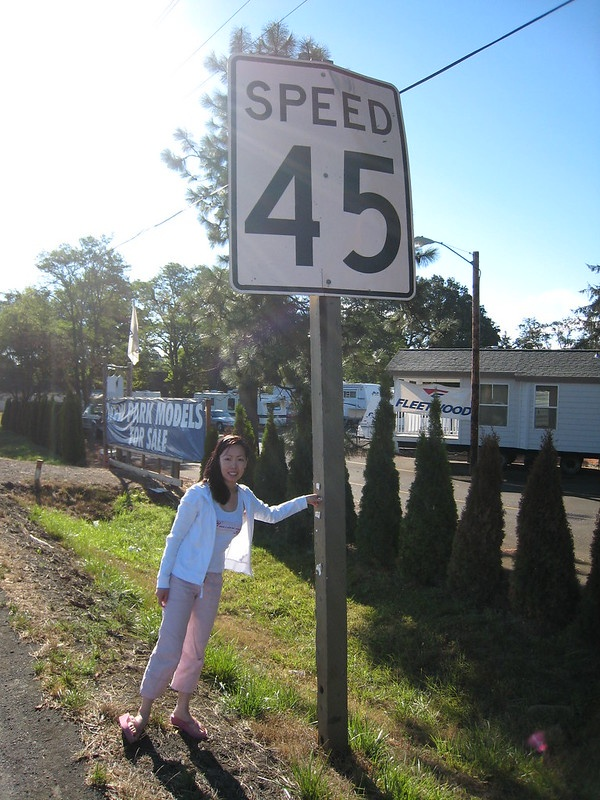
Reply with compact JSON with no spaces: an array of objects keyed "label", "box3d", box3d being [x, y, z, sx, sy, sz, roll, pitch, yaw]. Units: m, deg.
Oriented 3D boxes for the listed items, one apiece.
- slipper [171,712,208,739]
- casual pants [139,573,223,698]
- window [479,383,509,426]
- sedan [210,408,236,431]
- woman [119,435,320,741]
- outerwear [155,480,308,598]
[{"label":"slipper","box3d":[-0.498,1.441,2.994,0.137,0.071,0.089,23,-5,20]},{"label":"casual pants","box3d":[-0.556,1.068,3.086,0.181,0.445,0.416,4,-7,34]},{"label":"window","box3d":[5.911,0.138,20.344,0.060,1.611,0.847,7,-10,-32]},{"label":"sedan","box3d":[-3.007,0.710,25.792,0.755,0.884,1.808,1,-2,-30]},{"label":"woman","box3d":[-0.520,1.390,5.188,1.120,2.178,0.488,14,-19,-40]},{"label":"outerwear","box3d":[-0.302,0.702,3.236,0.676,0.706,0.348,7,-35,-9]}]
